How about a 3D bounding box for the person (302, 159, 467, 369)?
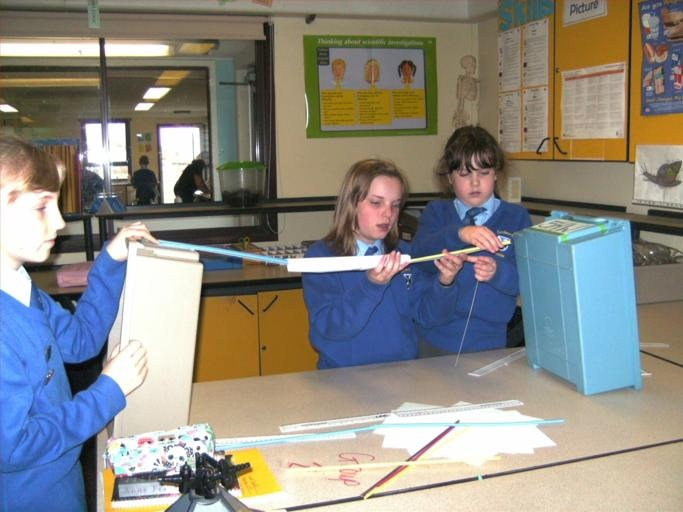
[{"bbox_3d":[0.128,0.034,1.950,0.517,0.740,0.539,-6,10,-15],"label":"person"}]
